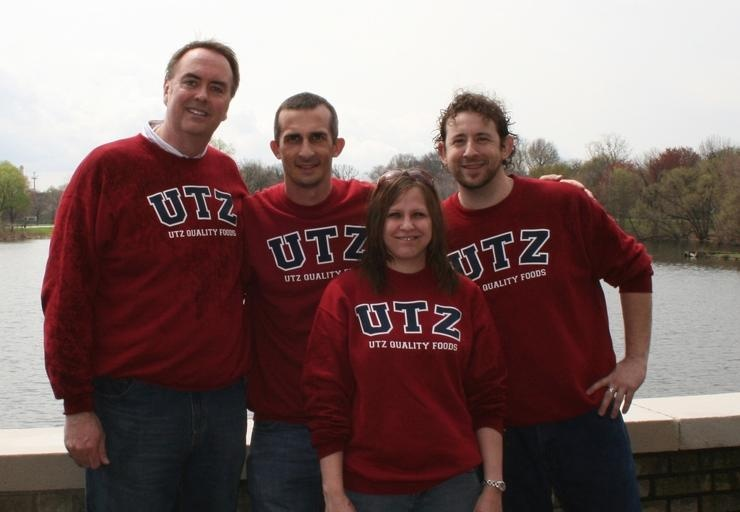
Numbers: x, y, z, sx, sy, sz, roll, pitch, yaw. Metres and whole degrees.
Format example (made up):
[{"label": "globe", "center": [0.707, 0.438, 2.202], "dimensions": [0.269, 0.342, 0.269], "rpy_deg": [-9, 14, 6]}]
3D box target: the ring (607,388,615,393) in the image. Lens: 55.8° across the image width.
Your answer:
[{"label": "ring", "center": [1.805, 0.996, 5.217], "dimensions": [0.043, 0.037, 0.011], "rpy_deg": [5, -7, 6]}]
